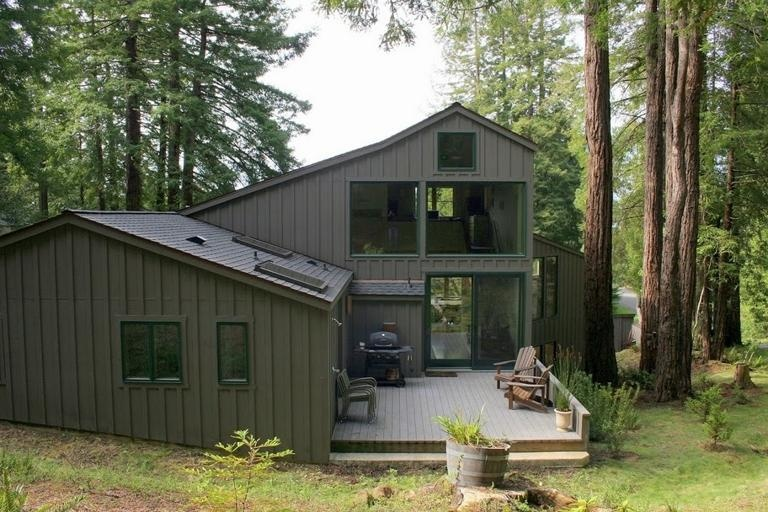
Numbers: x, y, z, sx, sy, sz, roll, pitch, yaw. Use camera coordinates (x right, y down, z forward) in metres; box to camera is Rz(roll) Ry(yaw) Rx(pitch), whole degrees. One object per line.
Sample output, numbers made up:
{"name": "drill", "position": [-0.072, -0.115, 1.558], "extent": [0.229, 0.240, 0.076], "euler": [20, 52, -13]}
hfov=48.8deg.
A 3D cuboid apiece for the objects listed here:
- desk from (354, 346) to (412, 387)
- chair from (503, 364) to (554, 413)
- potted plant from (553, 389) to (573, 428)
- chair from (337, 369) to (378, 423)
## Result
{"name": "desk", "position": [0.018, 3.636, 27.582], "extent": [1.813, 1.323, 0.828], "euler": [0, 7, 2]}
{"name": "chair", "position": [4.404, 4.037, 25.868], "extent": [1.269, 1.295, 1.086], "euler": [1, 7, 21]}
{"name": "potted plant", "position": [5.258, 4.563, 24.662], "extent": [0.473, 1.121, 0.403], "euler": [-3, -6, 9]}
{"name": "chair", "position": [-0.814, 4.215, 25.437], "extent": [1.193, 1.571, 1.438], "euler": [-2, -6, -2]}
